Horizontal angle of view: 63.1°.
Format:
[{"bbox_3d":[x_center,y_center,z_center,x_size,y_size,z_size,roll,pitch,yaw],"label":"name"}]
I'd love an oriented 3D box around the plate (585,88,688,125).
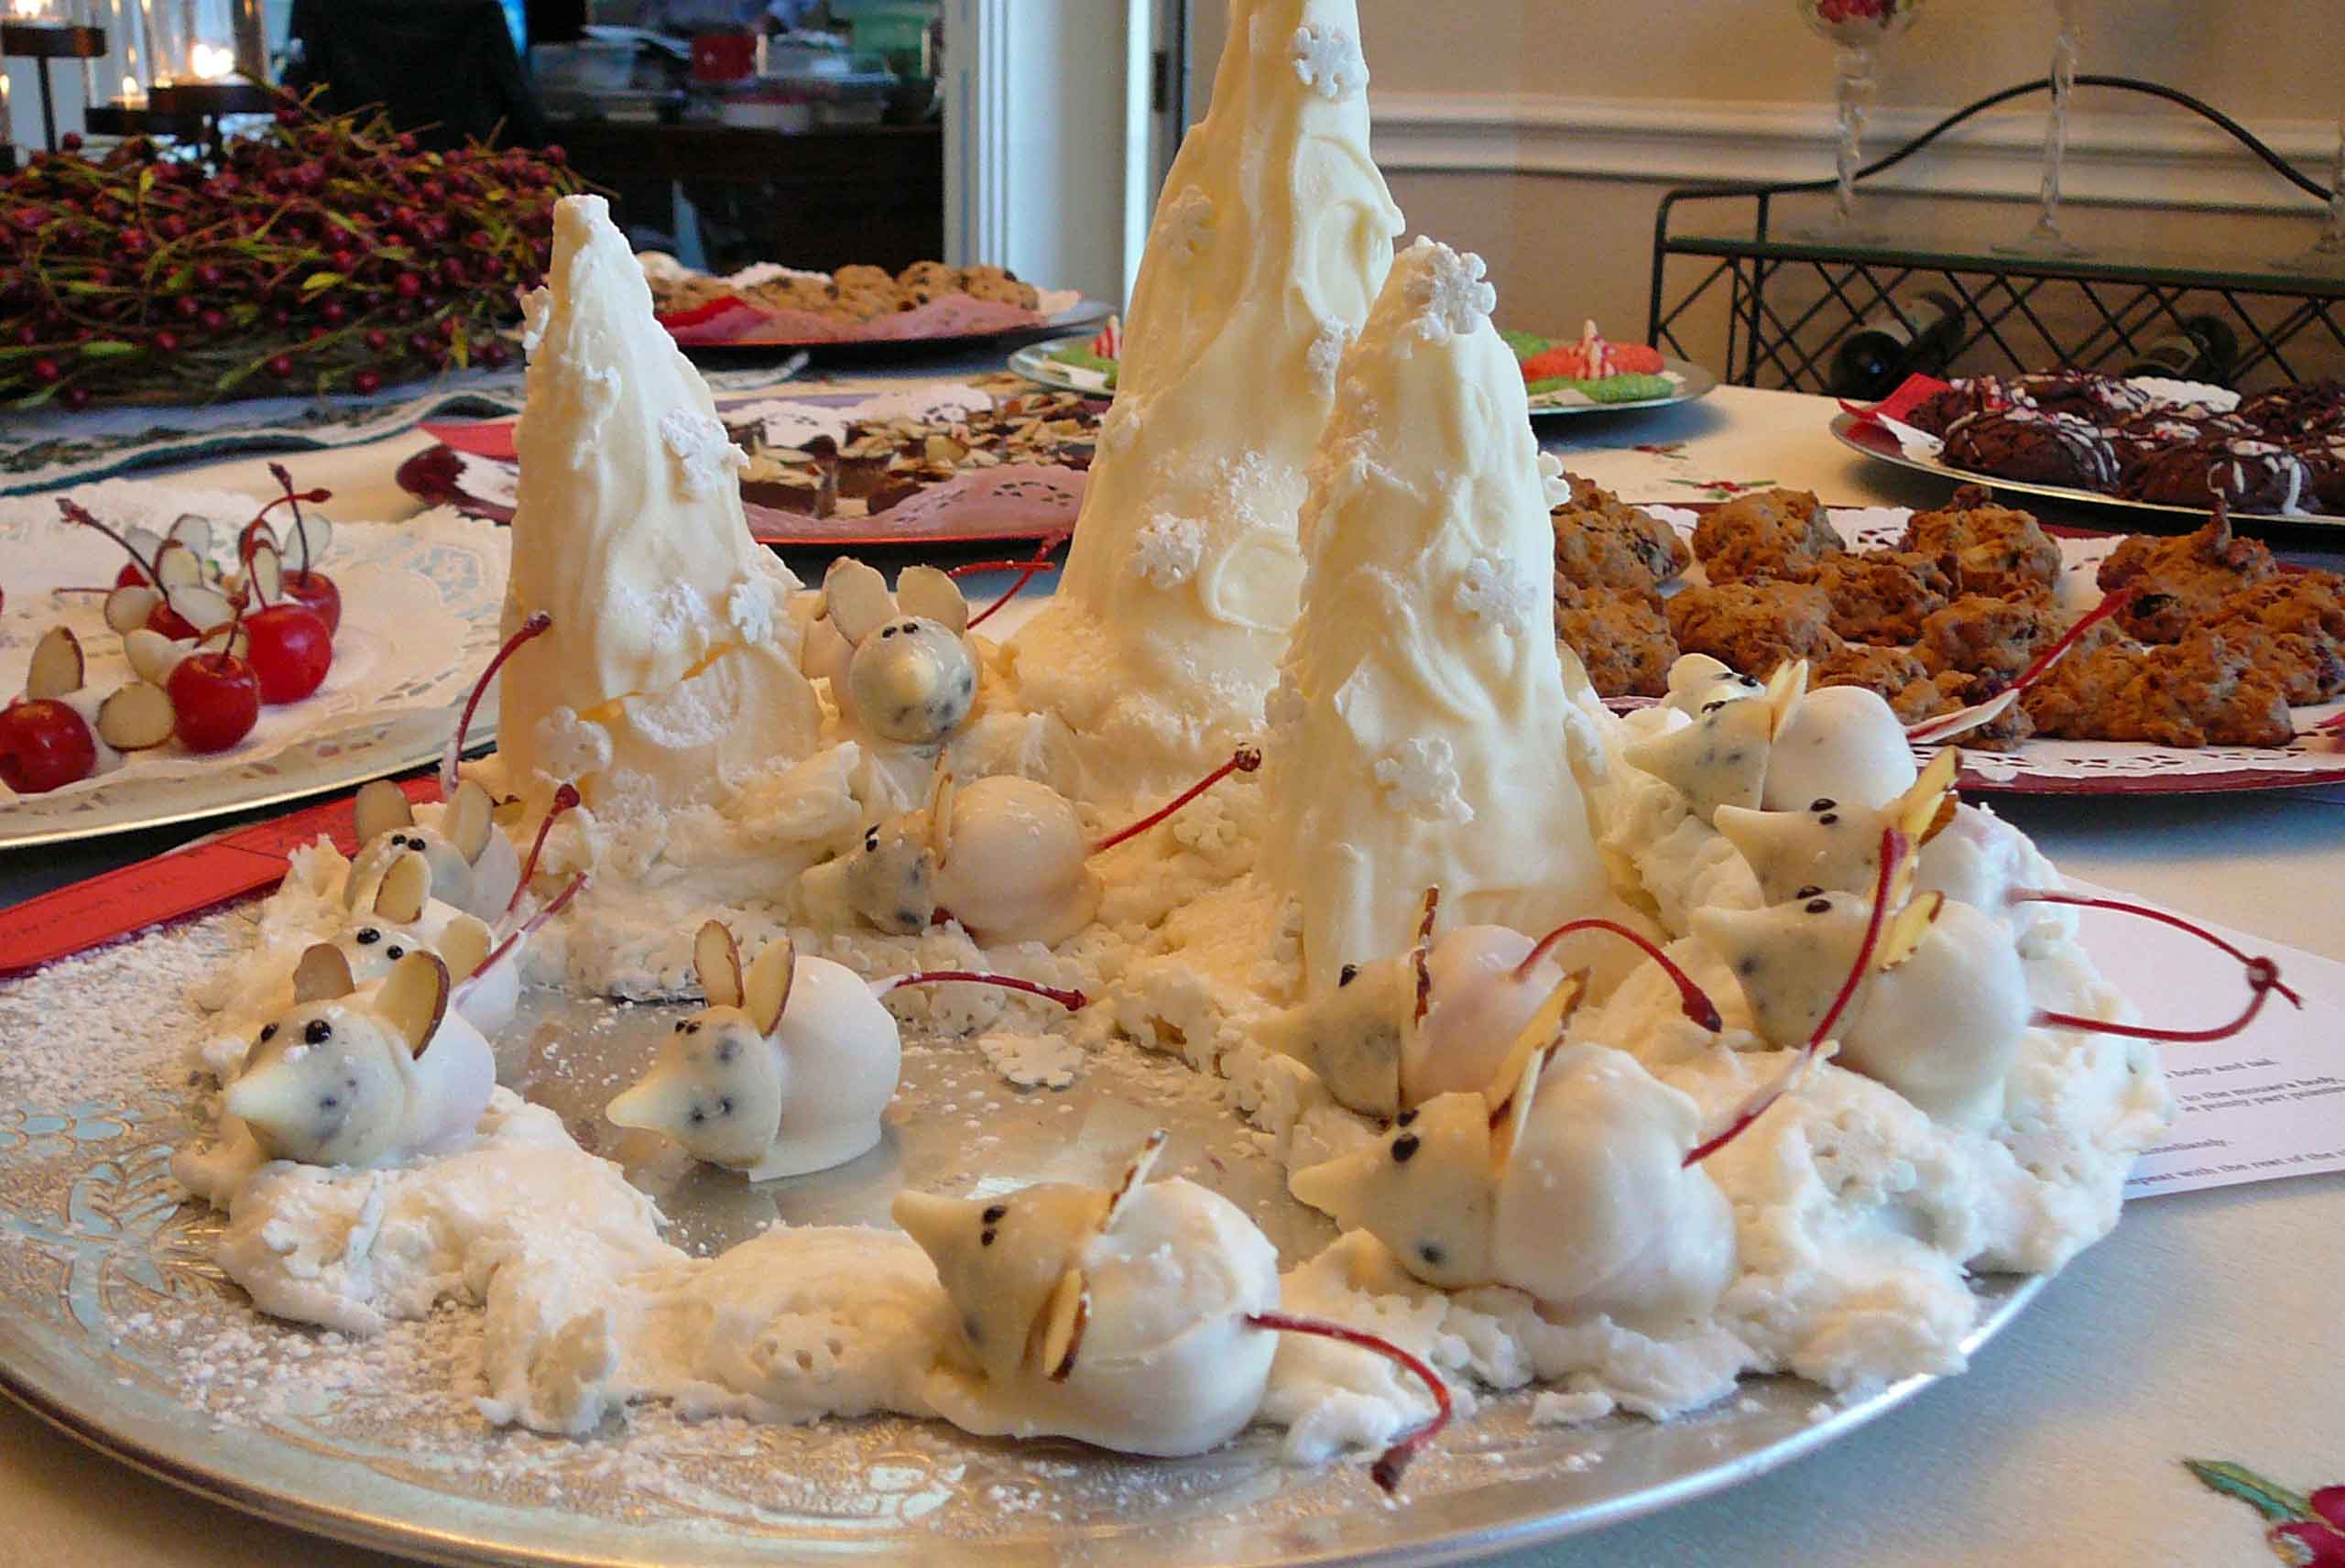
[{"bbox_3d":[-1.310,-1.648,4.684,0.239,0.062,0.077,1,26,0],"label":"plate"}]
